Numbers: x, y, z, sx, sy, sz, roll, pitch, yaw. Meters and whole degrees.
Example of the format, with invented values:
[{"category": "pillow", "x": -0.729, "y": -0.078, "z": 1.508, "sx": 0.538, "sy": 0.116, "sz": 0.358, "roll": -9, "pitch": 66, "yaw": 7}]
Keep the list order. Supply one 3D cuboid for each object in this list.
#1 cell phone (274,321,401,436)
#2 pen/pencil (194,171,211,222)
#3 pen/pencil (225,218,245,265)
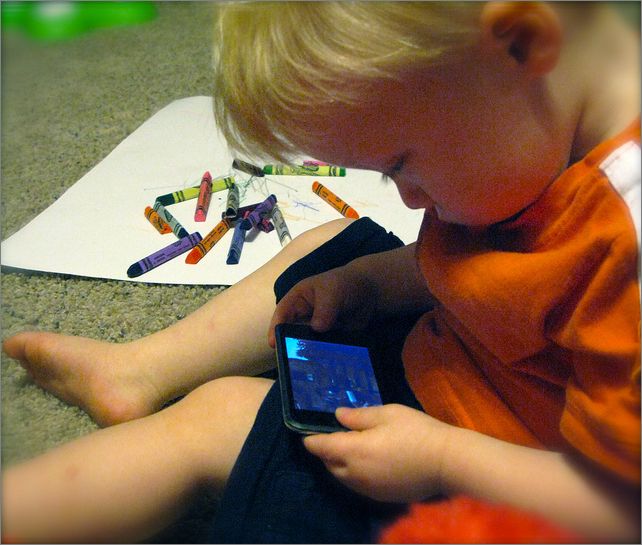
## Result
[{"category": "cell phone", "x": 0.020, "y": 0.153, "z": 0.766, "sx": 0.149, "sy": 0.024, "sz": 0.222, "roll": 10, "pitch": 36, "yaw": -12}, {"category": "pen/pencil", "x": -0.280, "y": -0.180, "z": 1.305, "sx": 0.027, "sy": 0.021, "sz": 0.114, "roll": 21, "pitch": 46, "yaw": -16}, {"category": "pen/pencil", "x": -0.191, "y": -0.072, "z": 1.219, "sx": 0.026, "sy": 0.029, "sz": 0.109, "roll": 14, "pitch": 41, "yaw": -9}]
